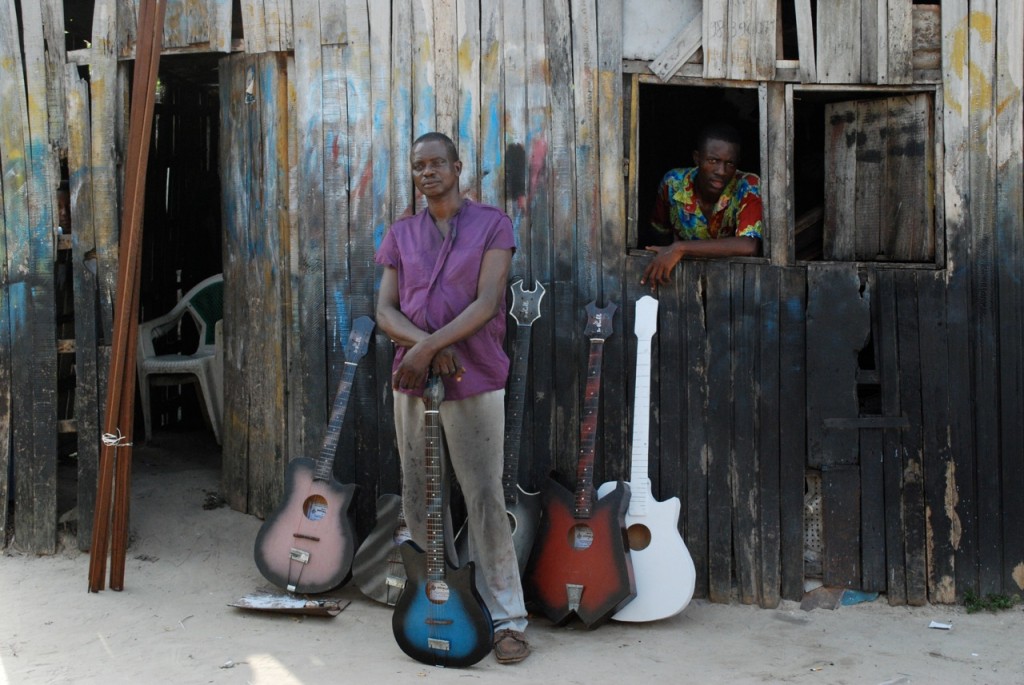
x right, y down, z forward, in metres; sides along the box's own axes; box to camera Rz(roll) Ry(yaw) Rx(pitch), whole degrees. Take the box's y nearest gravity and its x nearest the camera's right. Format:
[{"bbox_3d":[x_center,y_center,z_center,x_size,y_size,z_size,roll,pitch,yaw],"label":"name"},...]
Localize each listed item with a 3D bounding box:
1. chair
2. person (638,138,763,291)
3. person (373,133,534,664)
[{"bbox_3d":[-2.440,0.134,10.227,0.688,1.199,0.834,-2,2,22],"label":"chair"},{"bbox_3d":[1.203,-0.847,8.540,0.822,1.041,0.681,2,-2,33],"label":"person"},{"bbox_3d":[-0.325,0.316,7.682,0.965,3.004,0.499,3,-2,-8],"label":"person"}]
